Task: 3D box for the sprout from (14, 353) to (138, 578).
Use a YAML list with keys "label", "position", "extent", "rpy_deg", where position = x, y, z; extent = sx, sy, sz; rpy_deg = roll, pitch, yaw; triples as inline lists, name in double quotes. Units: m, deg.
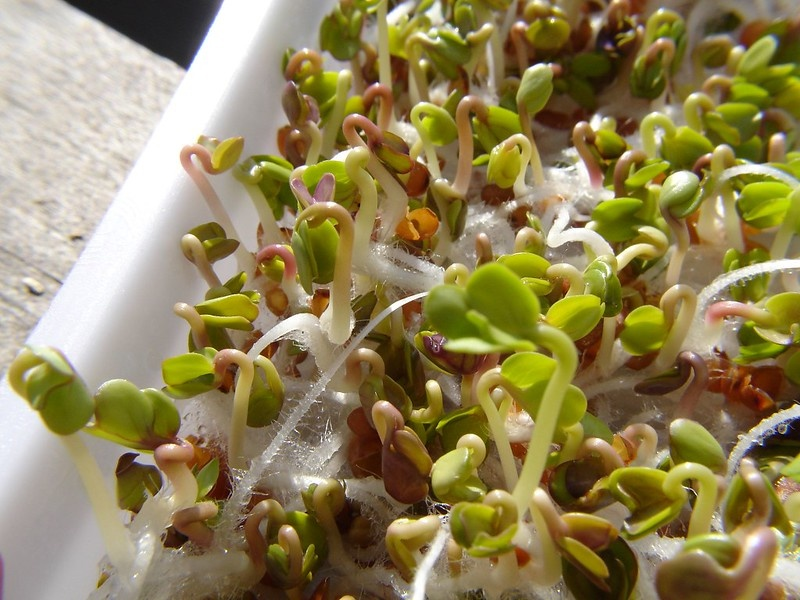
- label: "sprout"
  position: [-0.218, 0.113, 0.582]
  extent: [0.058, 0.052, 0.209]
  rpy_deg: [-93, 169, -64]
